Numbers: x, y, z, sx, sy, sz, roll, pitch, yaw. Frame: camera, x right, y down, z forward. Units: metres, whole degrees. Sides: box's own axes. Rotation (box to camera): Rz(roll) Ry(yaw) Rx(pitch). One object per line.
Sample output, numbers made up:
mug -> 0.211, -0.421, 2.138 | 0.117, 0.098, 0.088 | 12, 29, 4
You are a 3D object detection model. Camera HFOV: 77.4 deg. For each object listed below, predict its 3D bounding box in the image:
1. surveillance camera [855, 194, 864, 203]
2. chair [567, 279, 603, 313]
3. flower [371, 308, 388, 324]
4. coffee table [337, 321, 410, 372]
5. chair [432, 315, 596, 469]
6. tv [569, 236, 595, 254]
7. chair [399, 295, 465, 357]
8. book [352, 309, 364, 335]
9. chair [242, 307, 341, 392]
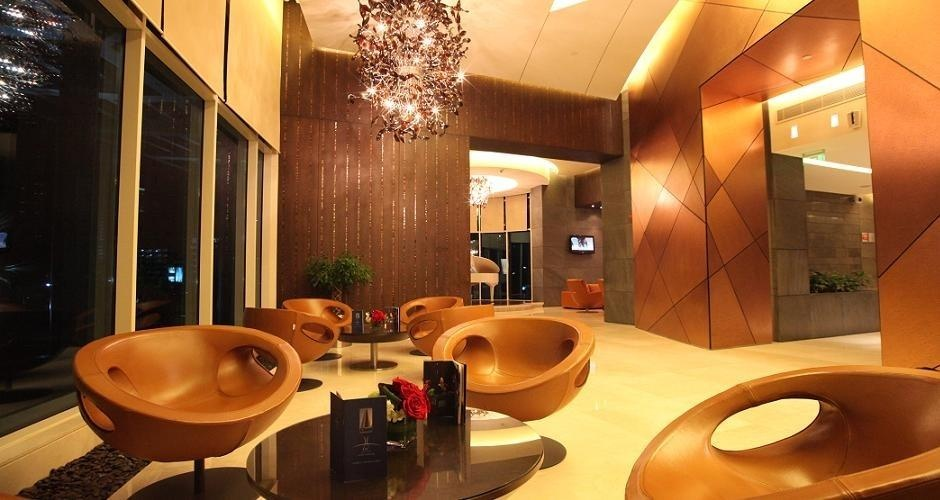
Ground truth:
surveillance camera -> 8.613, -1.117, 12.960 | 0.189, 0.166, 0.183 | -2, -1, 26
chair -> 3.142, 1.223, 15.590 | 0.953, 0.854, 0.815 | -2, 2, -23
flower -> -1.393, 1.041, 9.127 | 0.315, 0.194, 0.299 | 1, 0, -2
coffee table -> -1.470, 1.514, 8.844 | 1.041, 0.447, 0.991 | -6, -1, 22
chair -> 0.483, 1.570, 6.702 | 1.821, 1.362, 1.559 | 2, 4, 33
tv -> 3.344, -0.156, 17.365 | 0.845, 0.558, 0.141 | 3, -3, -25
chair -> -0.630, 1.236, 9.642 | 1.065, 0.869, 0.972 | 3, -4, 0
book -> -1.642, 1.050, 8.677 | 0.163, 0.294, 0.276 | 2, -3, -13
chair -> -2.544, 1.433, 8.460 | 1.274, 1.010, 1.350 | 2, -9, -19
